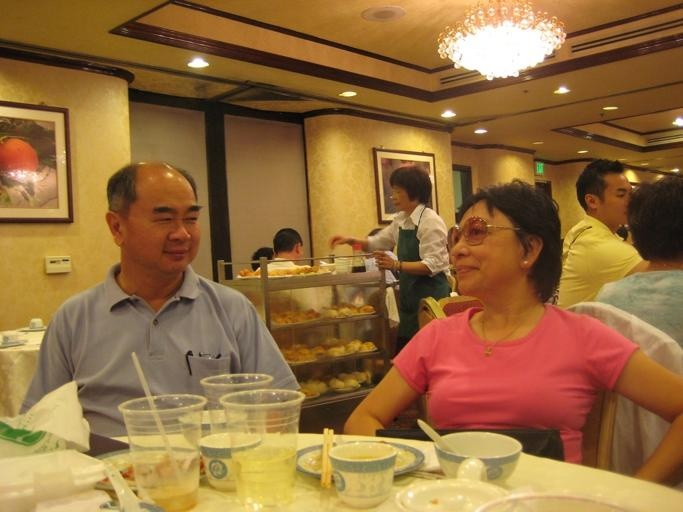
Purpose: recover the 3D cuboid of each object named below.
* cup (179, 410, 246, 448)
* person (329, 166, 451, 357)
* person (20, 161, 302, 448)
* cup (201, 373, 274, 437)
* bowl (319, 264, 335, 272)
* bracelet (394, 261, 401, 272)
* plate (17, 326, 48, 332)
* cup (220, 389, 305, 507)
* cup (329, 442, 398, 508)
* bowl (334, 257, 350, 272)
[{"bbox_3d":[-0.295,0.363,1.211,0.135,0.101,0.145,-2,-5,0],"label":"cup"},{"bbox_3d":[0.563,0.288,5.015,0.772,2.103,1.182,-3,1,-41],"label":"person"},{"bbox_3d":[-0.728,0.126,2.110,0.974,0.991,0.411,-5,6,-22],"label":"person"},{"bbox_3d":[-0.250,0.345,1.325,0.168,0.118,0.164,0,-5,0],"label":"cup"},{"bbox_3d":[-0.115,0.099,4.549,0.095,0.084,0.070,-12,10,-7],"label":"bowl"},{"bbox_3d":[0.479,0.094,4.639,0.067,0.112,0.086,0,2,1],"label":"bracelet"},{"bbox_3d":[-2.484,0.591,4.354,0.161,0.034,0.153,0,-1,-9],"label":"plate"},{"bbox_3d":[-0.160,0.401,1.222,0.256,0.258,0.220,-1,-6,-4],"label":"cup"},{"bbox_3d":[0.050,0.461,1.185,0.136,0.090,0.129,-1,0,0],"label":"cup"},{"bbox_3d":[0.013,0.072,4.745,0.145,0.092,0.116,-2,6,-2],"label":"bowl"}]
